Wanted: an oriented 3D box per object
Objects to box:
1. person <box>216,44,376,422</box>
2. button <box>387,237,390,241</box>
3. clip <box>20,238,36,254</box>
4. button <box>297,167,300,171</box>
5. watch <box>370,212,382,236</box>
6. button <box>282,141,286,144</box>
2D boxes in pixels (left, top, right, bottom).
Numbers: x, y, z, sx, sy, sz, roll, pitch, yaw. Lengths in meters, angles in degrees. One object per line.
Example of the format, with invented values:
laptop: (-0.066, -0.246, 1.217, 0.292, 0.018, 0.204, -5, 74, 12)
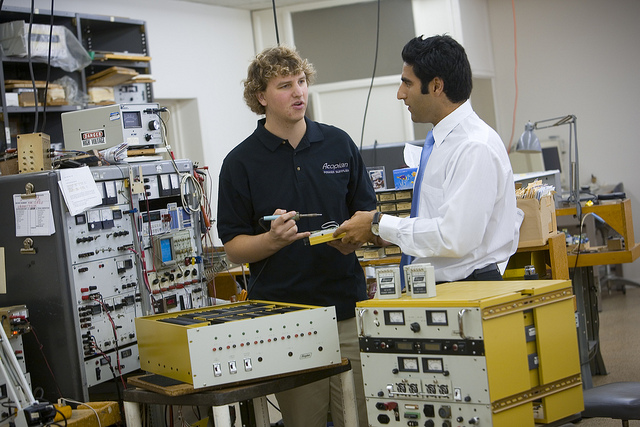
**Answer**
person: (-0.131, 0.127, 2.963, 0.851, 2.029, 0.531, -4, 5, 6)
button: (0.326, 0.122, 2.695, 0.013, 0.013, 0.003, 2, 2, 44)
clip: (-1.772, 0.195, 3.429, 0.081, 0.090, 0.028, 4, 10, 19)
button: (-0.114, -0.239, 2.983, 0.017, 0.019, 0.006, 2, 1, -11)
watch: (0.267, 0.054, 2.720, 0.052, 0.096, 0.087, 8, 12, 16)
button: (-0.191, -0.378, 2.993, 0.017, 0.014, 0.003, -6, 5, -10)
